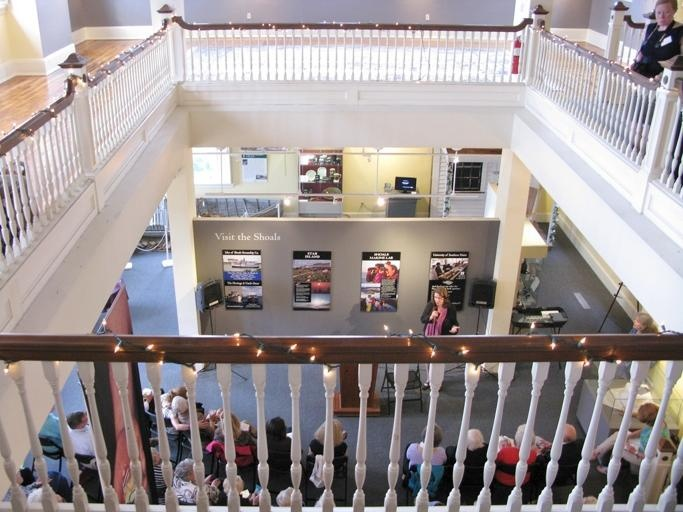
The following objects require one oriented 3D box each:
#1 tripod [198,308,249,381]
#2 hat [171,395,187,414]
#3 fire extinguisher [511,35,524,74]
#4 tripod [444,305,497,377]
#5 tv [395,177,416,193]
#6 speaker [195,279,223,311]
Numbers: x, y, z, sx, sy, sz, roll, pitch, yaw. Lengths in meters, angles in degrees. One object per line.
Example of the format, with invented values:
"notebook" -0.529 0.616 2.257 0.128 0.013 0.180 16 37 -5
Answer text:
"tripod" -2.144 1.498 9.822 1.198 1.245 1.625 2 -15 -12
"hat" -2.104 1.922 7.414 0.164 0.206 0.238 0 30 1
"fire extinguisher" 2.635 -3.026 8.686 0.135 0.513 0.208 3 5 18
"tripod" 2.286 1.218 9.794 0.928 1.481 0.895 5 -4 -15
"tv" 1.365 -1.527 12.342 0.295 0.228 0.117 2 24 8
"speaker" -2.205 0.617 9.446 0.208 0.398 0.393 10 20 31
